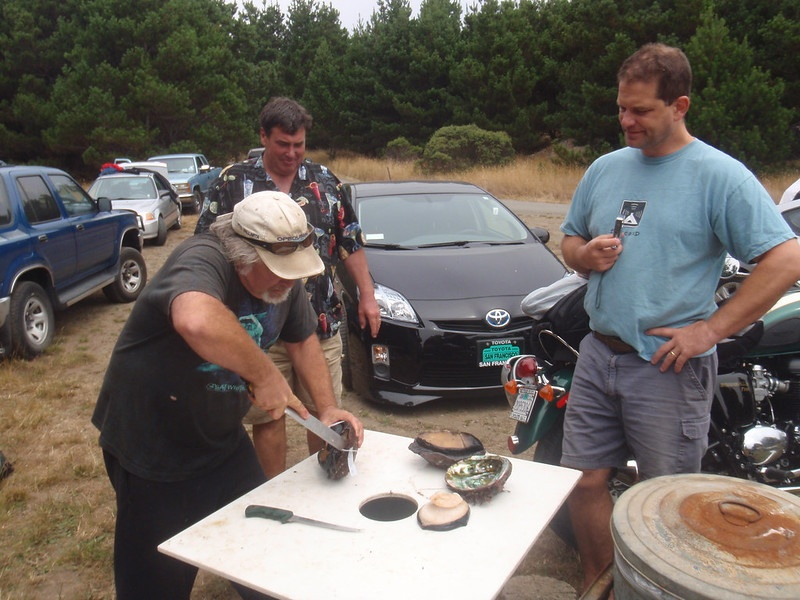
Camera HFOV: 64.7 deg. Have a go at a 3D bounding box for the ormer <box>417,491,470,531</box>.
[{"bbox_3d":[0.171,0.772,2.354,0.191,0.078,0.213,0,15,23],"label":"ormer"}]

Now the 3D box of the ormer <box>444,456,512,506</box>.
[{"bbox_3d":[0.314,0.698,2.481,0.279,0.098,0.253,-9,4,-27],"label":"ormer"}]

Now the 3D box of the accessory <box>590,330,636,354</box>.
[{"bbox_3d":[1.022,0.207,2.983,0.102,0.032,0.103,15,14,-28],"label":"accessory"}]

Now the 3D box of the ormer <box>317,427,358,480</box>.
[{"bbox_3d":[-0.242,0.642,2.654,0.136,0.191,0.086,5,-22,34],"label":"ormer"}]

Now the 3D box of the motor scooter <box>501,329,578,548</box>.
[{"bbox_3d":[0.765,0.721,3.732,0.712,1.109,0.543,-3,13,-19],"label":"motor scooter"}]

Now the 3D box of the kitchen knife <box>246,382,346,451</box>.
[{"bbox_3d":[-0.382,0.487,2.480,0.052,0.069,0.633,8,-26,39],"label":"kitchen knife"}]
